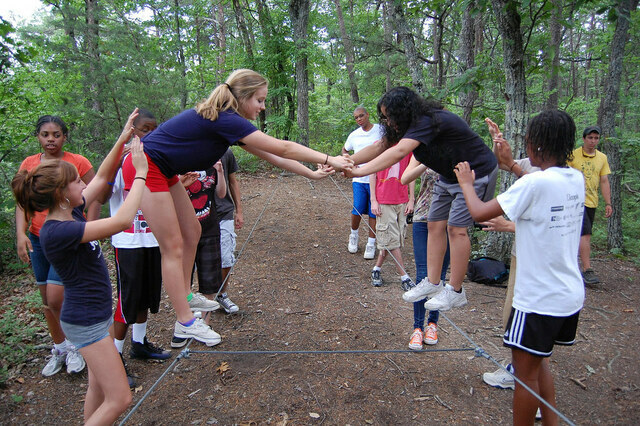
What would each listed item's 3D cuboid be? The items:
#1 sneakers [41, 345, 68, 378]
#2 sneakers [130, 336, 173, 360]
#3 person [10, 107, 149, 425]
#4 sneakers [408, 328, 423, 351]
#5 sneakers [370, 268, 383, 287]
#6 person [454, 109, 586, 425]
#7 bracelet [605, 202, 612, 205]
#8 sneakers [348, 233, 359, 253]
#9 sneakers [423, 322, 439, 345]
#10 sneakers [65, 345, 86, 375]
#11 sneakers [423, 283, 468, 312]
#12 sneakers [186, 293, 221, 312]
[{"bbox_3d":[-3.061,1.684,5.206,0.166,0.207,0.449,2,10,-6],"label":"sneakers"},{"bbox_3d":[-1.893,1.565,5.306,0.565,0.251,0.194,2,9,-9],"label":"sneakers"},{"bbox_3d":[-2.079,0.688,4.410,1.161,2.726,1.182,-12,16,-30],"label":"person"},{"bbox_3d":[1.123,1.467,5.254,0.113,0.129,0.328,0,-5,10],"label":"sneakers"},{"bbox_3d":[0.856,0.950,6.835,0.121,0.143,0.321,0,6,-4],"label":"sneakers"},{"bbox_3d":[1.996,0.517,4.251,0.955,2.851,0.824,-12,16,-28],"label":"person"},{"bbox_3d":[4.767,-0.154,7.467,0.090,0.042,0.121,3,5,18],"label":"bracelet"},{"bbox_3d":[0.577,0.515,7.870,0.137,0.160,0.398,-1,28,4],"label":"sneakers"},{"bbox_3d":[1.339,1.419,5.437,0.174,0.224,0.291,0,14,17],"label":"sneakers"},{"bbox_3d":[-2.880,1.677,5.247,0.199,0.231,0.527,4,-6,-40],"label":"sneakers"},{"bbox_3d":[1.420,0.941,5.144,0.587,0.289,0.221,-4,6,-21],"label":"sneakers"},{"bbox_3d":[-1.339,0.990,5.115,0.447,0.175,0.148,1,21,-9],"label":"sneakers"}]
